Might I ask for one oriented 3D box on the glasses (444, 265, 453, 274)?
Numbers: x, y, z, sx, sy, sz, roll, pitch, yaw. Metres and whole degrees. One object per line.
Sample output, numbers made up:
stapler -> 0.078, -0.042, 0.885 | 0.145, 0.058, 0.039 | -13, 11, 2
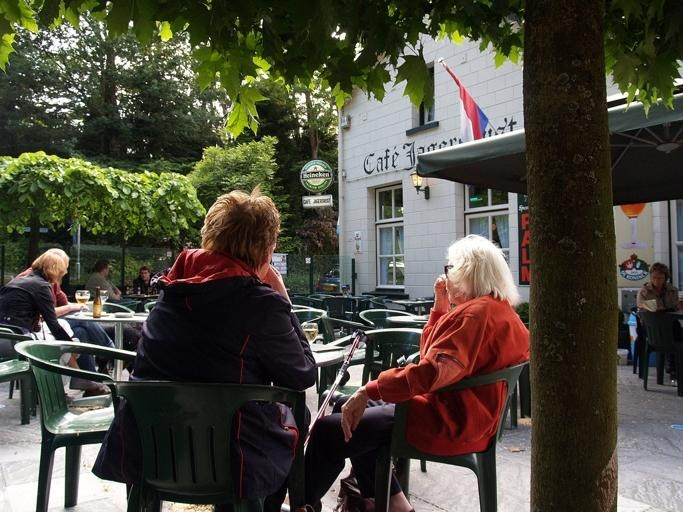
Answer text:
glasses -> 0.608, 0.075, 3.713 | 0.054, 0.055, 0.046 | -7, -8, 19

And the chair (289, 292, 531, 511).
chair -> 0.437, 0.809, 3.830 | 1.053, 1.447, 1.071 | 1, -6, 10

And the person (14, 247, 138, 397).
person -> -2.968, 0.586, 7.141 | 1.260, 1.465, 0.522 | -6, 25, -32

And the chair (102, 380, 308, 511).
chair -> -0.655, 0.780, 3.299 | 0.674, 0.936, 0.647 | 0, 1, 11

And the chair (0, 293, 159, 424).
chair -> -2.668, 1.023, 6.530 | 1.127, 1.294, 1.187 | 5, -7, -20

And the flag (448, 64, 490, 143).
flag -> 1.804, -2.182, 9.175 | 0.490, 0.140, 1.467 | -8, -40, 14

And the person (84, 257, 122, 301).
person -> -3.946, 0.371, 10.714 | 0.459, 0.886, 0.492 | -10, 18, -44
